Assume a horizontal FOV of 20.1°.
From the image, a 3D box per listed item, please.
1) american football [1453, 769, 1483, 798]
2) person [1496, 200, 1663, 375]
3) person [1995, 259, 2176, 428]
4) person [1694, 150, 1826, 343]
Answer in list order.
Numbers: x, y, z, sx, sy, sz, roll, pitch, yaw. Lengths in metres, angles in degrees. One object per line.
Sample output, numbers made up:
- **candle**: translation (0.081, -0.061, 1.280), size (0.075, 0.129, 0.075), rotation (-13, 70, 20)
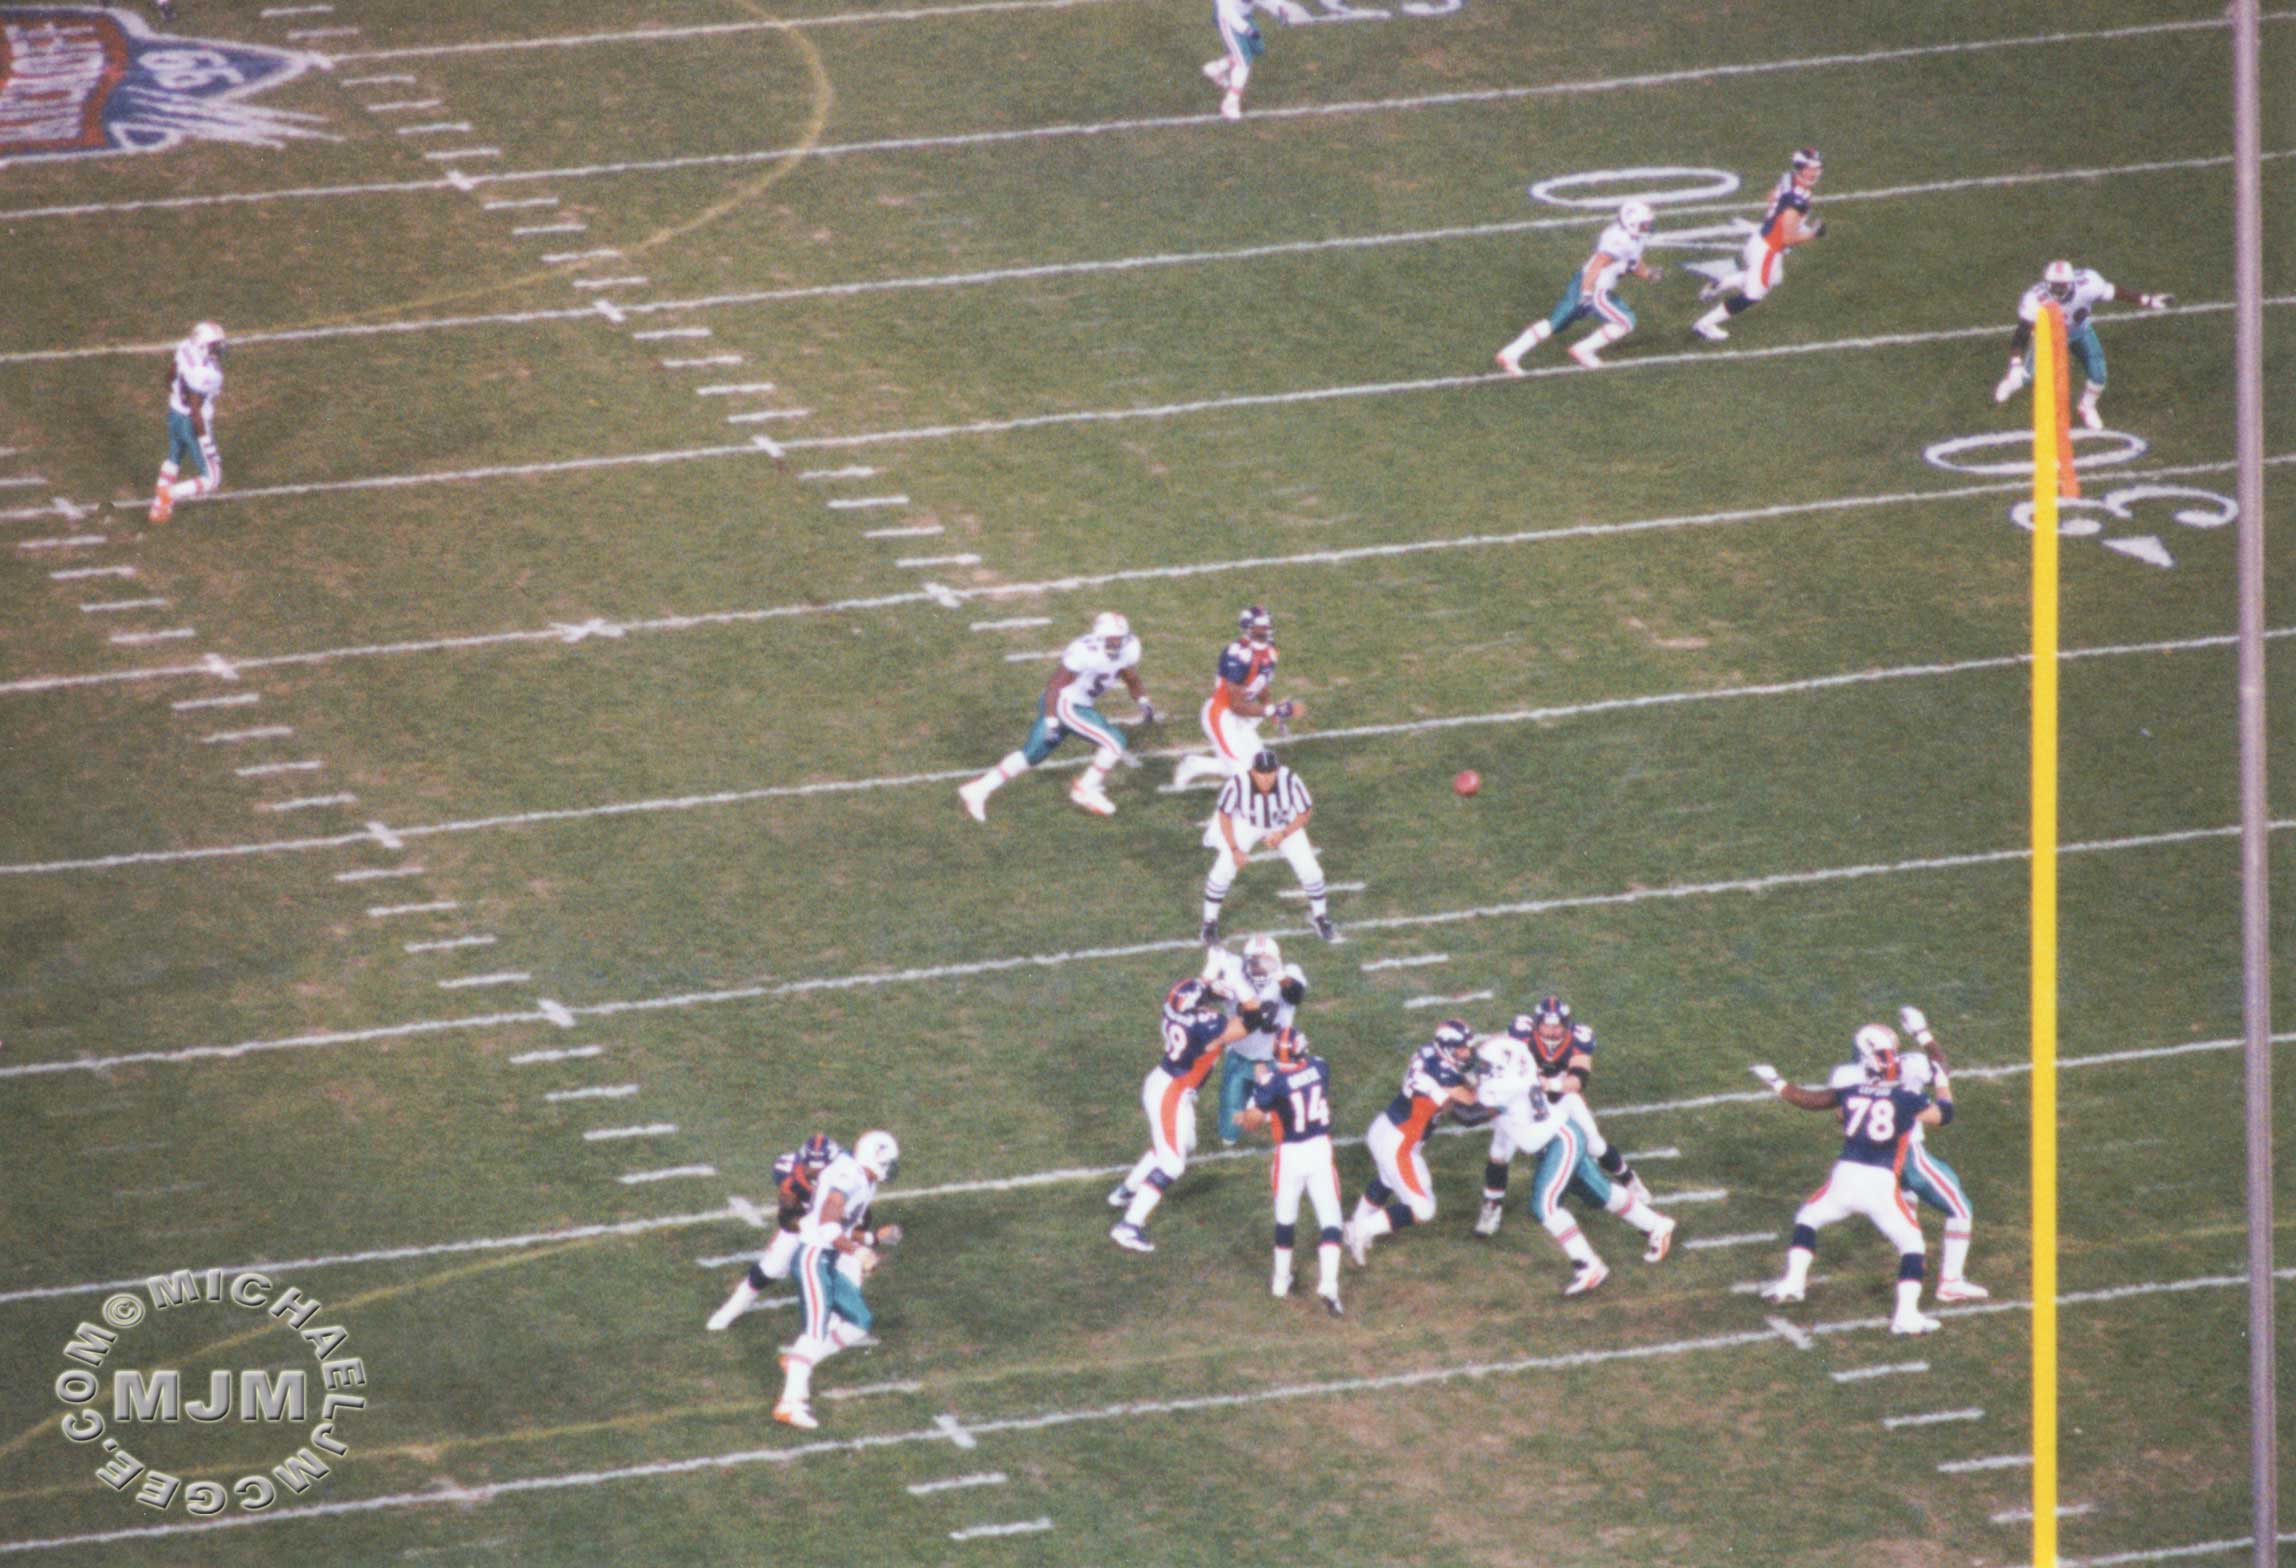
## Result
- **american football**: translation (1.979, 0.008, 40.626), size (0.180, 0.094, 0.189), rotation (1, 4, 3)
- **person**: translation (3.096, -3.467, 44.576), size (1.040, 1.155, 1.492), rotation (5, 22, 32)
- **person**: translation (6.292, -3.041, 43.941), size (1.231, 1.231, 1.934), rotation (-5, 18, 10)
- **person**: translation (4.264, -3.687, 45.257), size (1.091, 1.562, 0.651), rotation (9, 47, -15)
